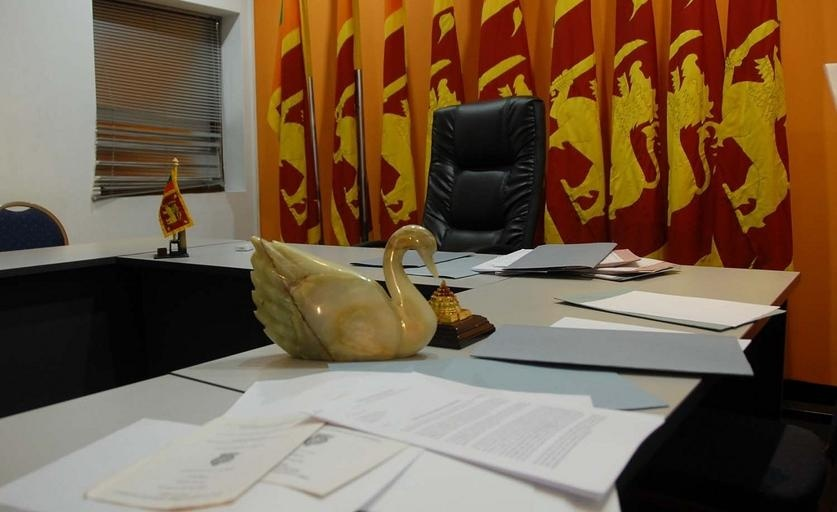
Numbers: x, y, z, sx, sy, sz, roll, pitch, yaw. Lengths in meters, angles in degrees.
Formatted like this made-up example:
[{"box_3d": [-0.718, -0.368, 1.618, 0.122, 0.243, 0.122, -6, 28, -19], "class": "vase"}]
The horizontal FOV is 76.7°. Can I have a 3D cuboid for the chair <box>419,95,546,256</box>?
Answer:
[{"box_3d": [0.341, -0.450, 2.894, 0.644, 0.802, 0.332, 4, 14, 22], "class": "chair"}]
